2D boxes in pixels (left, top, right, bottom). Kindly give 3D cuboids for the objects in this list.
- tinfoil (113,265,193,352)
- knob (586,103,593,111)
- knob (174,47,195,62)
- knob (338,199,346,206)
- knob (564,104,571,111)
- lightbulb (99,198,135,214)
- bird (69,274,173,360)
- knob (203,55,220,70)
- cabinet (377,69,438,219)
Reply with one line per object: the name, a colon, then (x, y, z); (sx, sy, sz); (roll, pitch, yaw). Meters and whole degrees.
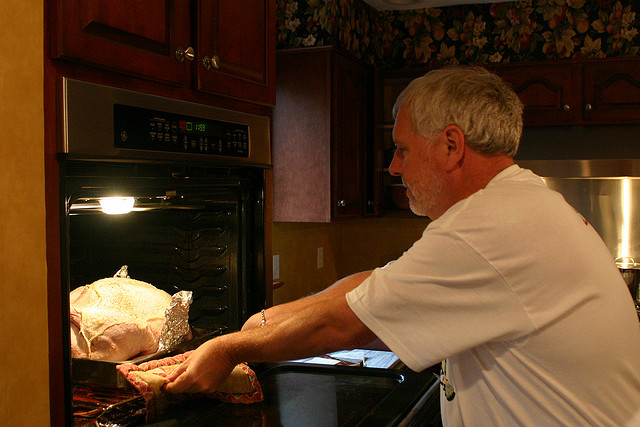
tinfoil: (-0.481, 0.265, 1.491); (0.168, 0.236, 0.091); (-6, -10, 44)
knob: (1.648, -0.655, 3.174); (0.031, 0.031, 0.031); (3, -15, -9)
knob: (-0.352, -0.412, 1.336); (0.024, 0.046, 0.045); (-3, 7, 30)
knob: (0.117, -0.061, 2.774); (0.024, 0.029, 0.040); (4, 15, 28)
knob: (1.521, -0.656, 3.195); (0.033, 0.038, 0.016); (0, 9, -5)
lightbulb: (-0.521, -0.021, 1.338); (0.084, 0.048, 0.102); (-3, 10, -23)
bird: (-0.540, 0.281, 1.440); (0.183, 0.119, 0.252); (5, 14, 6)
knob: (-0.296, -0.412, 1.411); (0.012, 0.038, 0.056); (6, 10, 29)
cabinet: (0.479, -0.436, 3.352); (0.414, 0.983, 0.300); (-4, 10, -24)
